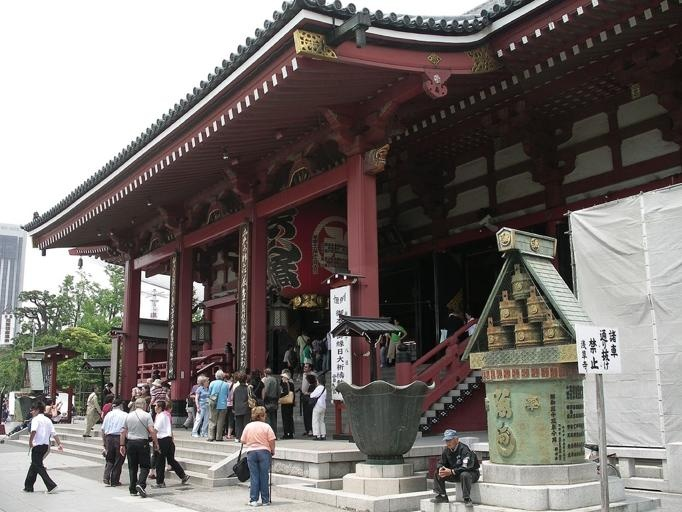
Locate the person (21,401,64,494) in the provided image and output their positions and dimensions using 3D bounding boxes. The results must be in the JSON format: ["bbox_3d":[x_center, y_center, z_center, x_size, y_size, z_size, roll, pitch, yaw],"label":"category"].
[{"bbox_3d":[-5.571,3.597,12.985,0.572,1.609,1.336,7,-17,-21],"label":"person"}]

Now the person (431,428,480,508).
[{"bbox_3d":[1.655,3.102,10.158,0.645,1.043,0.793,6,-17,-18],"label":"person"}]

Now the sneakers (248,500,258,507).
[{"bbox_3d":[-1.429,4.055,11.257,0.059,0.072,0.160,11,-24,-32],"label":"sneakers"}]

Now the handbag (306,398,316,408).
[{"bbox_3d":[-0.646,3.256,15.230,0.237,0.105,0.341,5,-19,-14],"label":"handbag"}]

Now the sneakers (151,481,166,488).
[{"bbox_3d":[-3.483,4.345,13.089,0.278,0.125,0.122,2,-9,31],"label":"sneakers"}]

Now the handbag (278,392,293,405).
[{"bbox_3d":[-1.248,3.155,15.252,0.280,0.268,0.121,-5,-20,11],"label":"handbag"}]

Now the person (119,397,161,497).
[{"bbox_3d":[-3.683,3.500,12.667,0.608,1.740,0.847,9,-18,-27],"label":"person"}]

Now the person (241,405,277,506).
[{"bbox_3d":[-1.405,3.334,11.543,0.540,1.585,0.348,2,-16,-7],"label":"person"}]

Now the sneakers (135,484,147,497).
[{"bbox_3d":[-3.552,4.182,12.203,0.101,0.312,0.121,-18,19,8],"label":"sneakers"}]

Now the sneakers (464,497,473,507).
[{"bbox_3d":[1.780,3.478,9.723,0.116,0.114,0.109,-1,-16,5],"label":"sneakers"}]

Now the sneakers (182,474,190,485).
[{"bbox_3d":[-3.013,4.310,13.408,0.115,0.271,0.098,14,-58,2],"label":"sneakers"}]

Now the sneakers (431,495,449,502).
[{"bbox_3d":[1.411,3.512,9.976,0.230,0.105,0.096,4,-12,-5],"label":"sneakers"}]
